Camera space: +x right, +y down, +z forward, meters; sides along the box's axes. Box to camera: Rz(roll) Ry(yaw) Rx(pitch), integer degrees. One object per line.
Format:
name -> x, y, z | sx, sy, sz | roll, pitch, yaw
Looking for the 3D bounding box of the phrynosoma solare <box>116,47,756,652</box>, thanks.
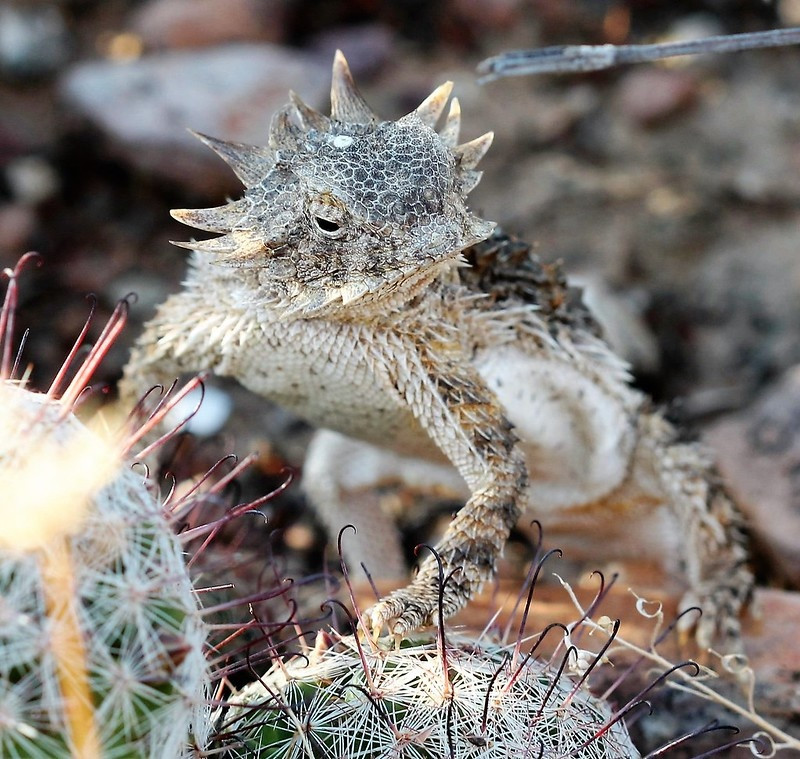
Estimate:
phrynosoma solare -> 0.135, -0.049, 2.828 | 1.459, 1.438, 1.149 | 4, 19, 16
